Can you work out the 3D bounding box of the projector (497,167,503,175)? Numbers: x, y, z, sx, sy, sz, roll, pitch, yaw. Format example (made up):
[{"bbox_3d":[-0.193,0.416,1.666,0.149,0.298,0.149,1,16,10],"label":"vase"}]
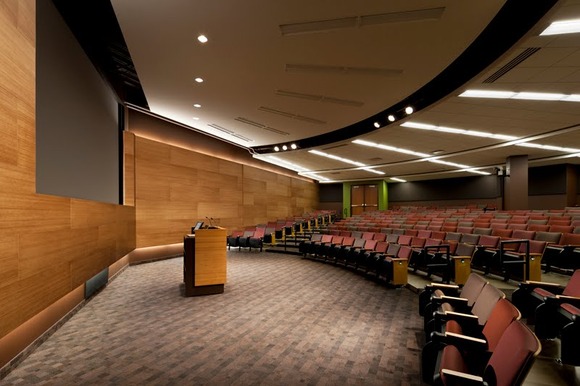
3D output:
[{"bbox_3d":[9.704,-1.019,14.530,0.212,0.244,0.271,5,-11,-3],"label":"projector"}]
